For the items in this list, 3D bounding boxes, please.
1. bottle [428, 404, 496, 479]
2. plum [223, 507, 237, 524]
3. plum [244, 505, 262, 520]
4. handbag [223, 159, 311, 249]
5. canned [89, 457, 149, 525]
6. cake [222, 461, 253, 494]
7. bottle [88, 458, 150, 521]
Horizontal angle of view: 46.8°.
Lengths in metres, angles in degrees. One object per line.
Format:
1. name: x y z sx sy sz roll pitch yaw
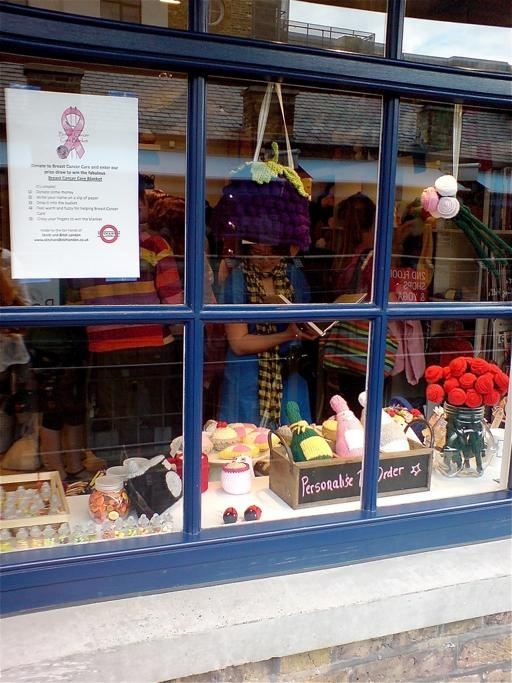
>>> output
1. bottle: 0.602 0.288 1.711 0.207 0.207 0.182 -7 16 -24
2. plum: -0.059 0.395 1.341 0.027 0.029 0.026 6 1 -26
3. plum: -0.007 0.399 1.375 0.040 0.023 0.053 -2 11 1
4. handbag: 0.020 -0.302 1.336 0.243 0.200 0.049 -11 14 -37
5. canned: -0.315 0.336 1.341 0.115 0.090 0.148 -1 11 4
6. cake: -0.046 0.339 1.488 0.082 0.071 0.077 1 -3 -3
7. bottle: -0.321 0.336 1.315 0.145 0.130 0.087 2 -4 -21
